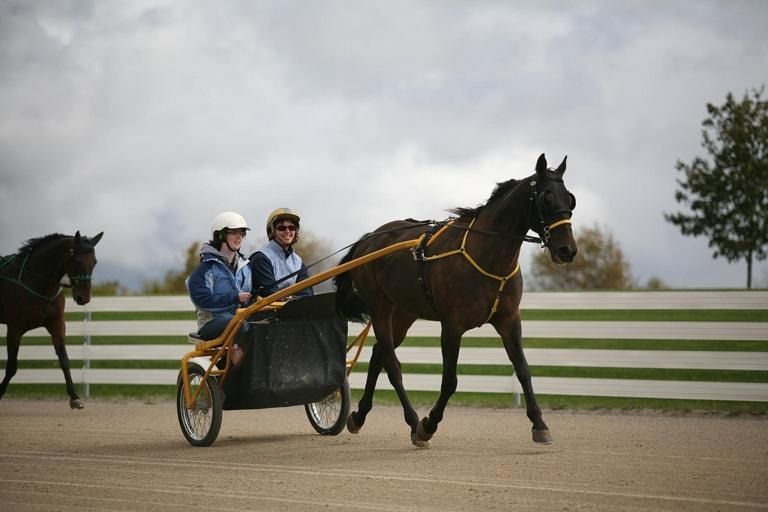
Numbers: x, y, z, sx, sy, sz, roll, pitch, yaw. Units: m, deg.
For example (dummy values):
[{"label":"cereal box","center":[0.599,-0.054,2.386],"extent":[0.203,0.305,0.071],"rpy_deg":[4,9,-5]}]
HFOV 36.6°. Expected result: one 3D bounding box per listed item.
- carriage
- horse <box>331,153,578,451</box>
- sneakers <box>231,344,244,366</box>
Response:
[{"label":"carriage","center":[-0.305,1.034,16.308],"extent":[6.539,4.195,2.761],"rpy_deg":[-12,-13,39]},{"label":"horse","center":[0.838,0.731,15.767],"extent":[1.217,3.763,4.674],"rpy_deg":[5,-7,-39]},{"label":"sneakers","center":[-1.958,1.322,15.349],"extent":[0.178,0.258,0.063],"rpy_deg":[7,-5,42]}]
